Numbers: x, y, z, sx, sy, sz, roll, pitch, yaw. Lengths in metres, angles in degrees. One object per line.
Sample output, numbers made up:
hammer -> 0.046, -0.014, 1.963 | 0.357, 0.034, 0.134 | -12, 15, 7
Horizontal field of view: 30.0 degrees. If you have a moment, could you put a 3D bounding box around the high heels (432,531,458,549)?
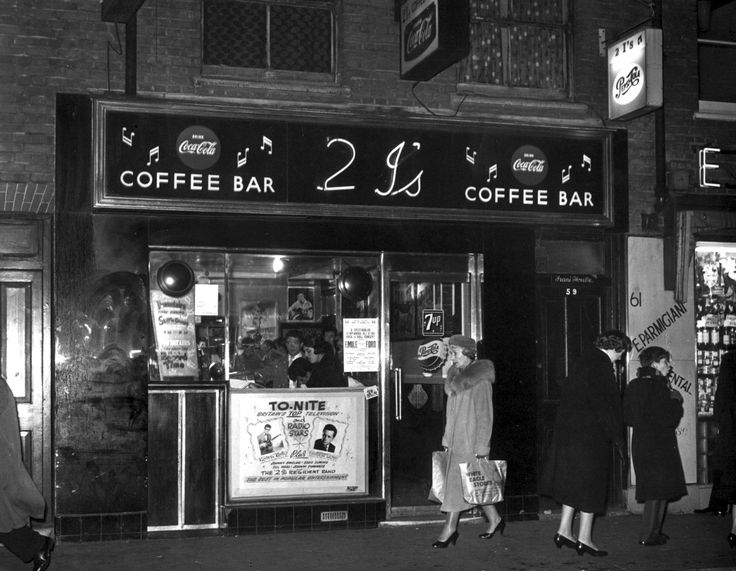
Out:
high heels -> 0.791, 2.826, 15.224 | 0.389, 0.196, 0.132 | -2, -3, -9

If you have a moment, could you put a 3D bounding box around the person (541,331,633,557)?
person -> 2.372, 1.723, 14.846 | 0.908, 2.399, 0.462 | -3, -3, 10

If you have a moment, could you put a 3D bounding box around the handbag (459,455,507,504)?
handbag -> 1.229, 2.127, 15.020 | 0.555, 0.443, 0.192 | 2, -9, -19

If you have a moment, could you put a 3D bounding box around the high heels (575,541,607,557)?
high heels -> 2.375, 2.843, 14.818 | 0.410, 0.186, 0.139 | 1, -5, -11

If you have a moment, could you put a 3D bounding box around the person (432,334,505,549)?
person -> 1.057, 1.718, 15.204 | 0.722, 2.338, 0.417 | -2, -3, 2

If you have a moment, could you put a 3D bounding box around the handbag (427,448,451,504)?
handbag -> 0.794, 2.156, 15.391 | 0.308, 0.806, 0.703 | 2, -7, 2

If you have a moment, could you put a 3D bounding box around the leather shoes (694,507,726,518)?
leather shoes -> 4.221, 2.807, 16.994 | 0.383, 0.170, 0.122 | 5, -11, 7

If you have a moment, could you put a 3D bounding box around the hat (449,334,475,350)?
hat -> 1.059, 0.640, 15.366 | 0.218, 0.116, 0.179 | 12, -7, 18

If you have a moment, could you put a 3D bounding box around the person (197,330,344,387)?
person -> -0.900, 0.840, 16.301 | 1.333, 0.699, 0.310 | 1, -7, -12
